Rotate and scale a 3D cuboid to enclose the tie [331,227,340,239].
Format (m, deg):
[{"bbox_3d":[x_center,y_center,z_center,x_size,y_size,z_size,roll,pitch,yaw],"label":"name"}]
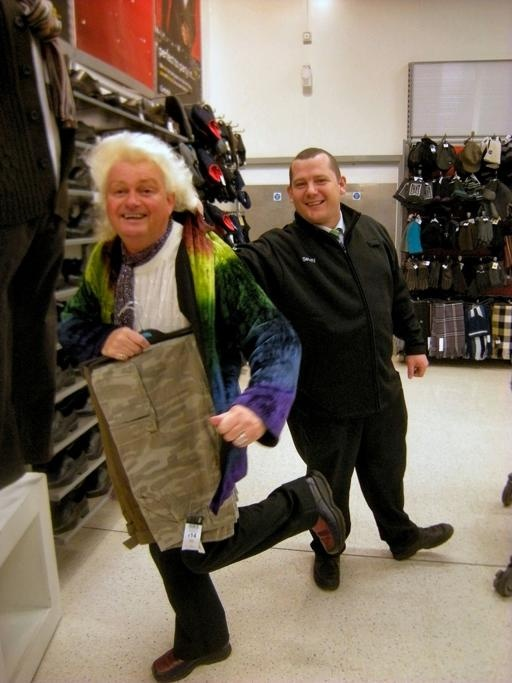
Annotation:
[{"bbox_3d":[0.282,-0.384,1.839,0.033,0.018,0.046,3,48,-17],"label":"tie"}]

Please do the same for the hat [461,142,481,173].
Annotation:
[{"bbox_3d":[2.122,-1.806,5.086,0.224,0.281,0.144,3,8,24],"label":"hat"}]

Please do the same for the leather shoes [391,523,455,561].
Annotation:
[{"bbox_3d":[0.668,0.820,2.088,0.258,0.107,0.085,-23,13,-8],"label":"leather shoes"}]

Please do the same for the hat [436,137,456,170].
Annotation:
[{"bbox_3d":[1.894,-1.850,5.103,0.205,0.280,0.097,-2,-2,4],"label":"hat"}]
